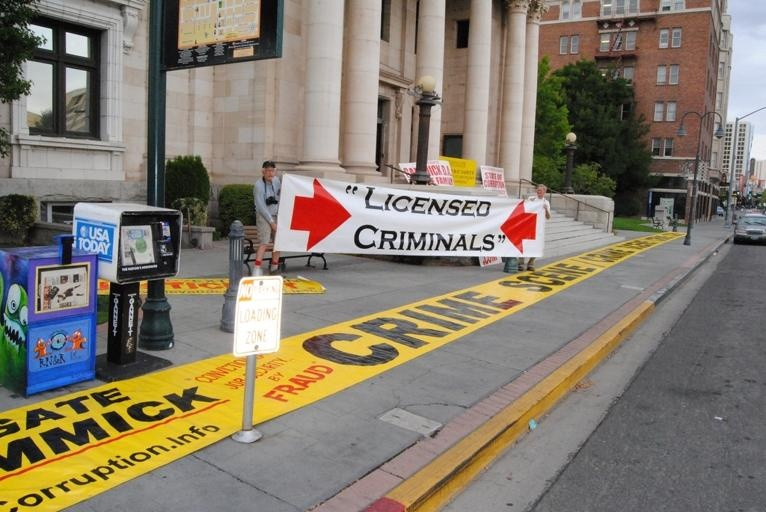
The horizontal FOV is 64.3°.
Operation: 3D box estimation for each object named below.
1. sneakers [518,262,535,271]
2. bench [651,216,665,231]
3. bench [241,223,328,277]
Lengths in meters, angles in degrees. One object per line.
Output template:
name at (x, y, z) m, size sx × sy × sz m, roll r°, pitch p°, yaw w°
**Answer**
sneakers at (3.838, 0.286, 16.921) m, size 0.224 × 0.254 × 0.675 m, roll -2°, pitch 3°, yaw -34°
bench at (18.562, -2.294, 41.042) m, size 0.701 × 0.792 × 1.748 m, roll 3°, pitch 8°, yaw 22°
bench at (-2.550, -0.244, 15.184) m, size 2.376 × 0.977 × 0.865 m, roll 1°, pitch 12°, yaw -44°
